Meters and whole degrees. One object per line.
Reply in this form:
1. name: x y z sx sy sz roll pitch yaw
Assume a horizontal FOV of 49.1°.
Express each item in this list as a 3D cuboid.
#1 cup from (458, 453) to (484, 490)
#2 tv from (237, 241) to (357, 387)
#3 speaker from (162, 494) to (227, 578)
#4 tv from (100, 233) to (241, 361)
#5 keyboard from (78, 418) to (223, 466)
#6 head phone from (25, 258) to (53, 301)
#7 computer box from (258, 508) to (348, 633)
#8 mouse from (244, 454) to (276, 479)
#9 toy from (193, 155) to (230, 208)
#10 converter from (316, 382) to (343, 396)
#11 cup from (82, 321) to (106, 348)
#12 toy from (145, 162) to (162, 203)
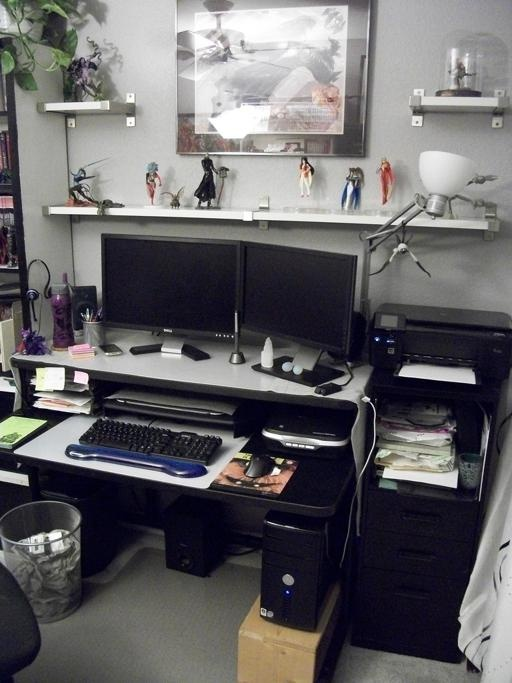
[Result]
1. cup: 0.611 0.380 1.615 0.063 0.094 0.072 7 13 20
2. tv: 0.125 -0.082 1.773 0.387 0.374 0.147 21 21 36
3. speaker: -0.220 0.711 2.116 0.186 0.298 0.312 1 4 16
4. tv: -0.305 -0.159 1.990 0.457 0.298 0.038 6 19 18
5. keyboard: -0.311 0.293 1.649 0.411 0.037 0.168 5 13 13
6. head phone: -0.855 -0.234 2.202 0.051 0.169 0.110 1 5 38
7. computer box: 0.138 0.636 1.645 0.172 0.292 0.309 6 0 15
8. mouse: 0.009 0.336 1.509 0.059 0.036 0.123 6 13 17
9. toy: -0.168 -0.593 2.094 0.126 0.188 0.149 1 13 -4
10. converter: 0.214 0.135 1.653 0.063 0.015 0.035 -11 17 -40
11. cup: -0.592 -0.027 2.109 0.088 0.094 0.088 1 11 0
12. toy: -0.399 -0.609 2.164 0.059 0.162 0.104 0 13 -10
